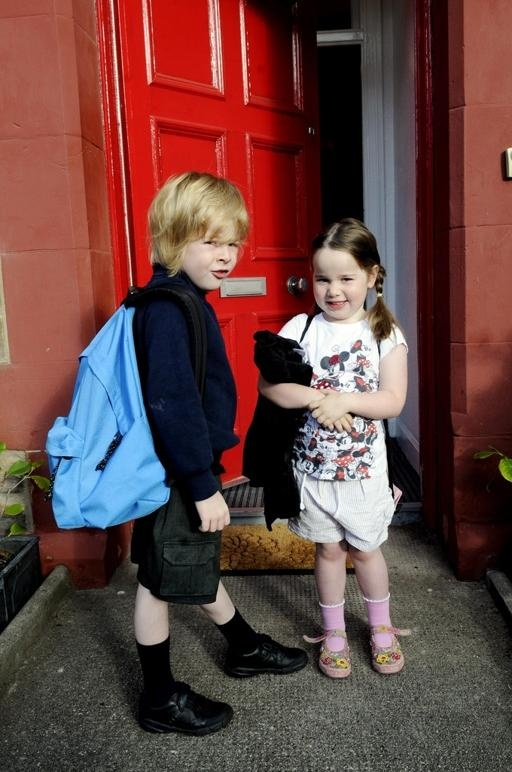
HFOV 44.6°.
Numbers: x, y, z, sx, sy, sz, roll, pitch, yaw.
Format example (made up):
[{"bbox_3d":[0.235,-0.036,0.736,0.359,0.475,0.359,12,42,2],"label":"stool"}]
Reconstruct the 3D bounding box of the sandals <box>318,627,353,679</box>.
[{"bbox_3d":[0.214,0.726,1.665,0.059,0.059,0.141,0,0,3],"label":"sandals"}]

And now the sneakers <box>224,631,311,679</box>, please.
[{"bbox_3d":[0.025,0.735,1.746,0.255,0.116,0.098,-1,33,-7],"label":"sneakers"}]

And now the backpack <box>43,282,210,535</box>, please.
[{"bbox_3d":[-0.301,0.080,1.654,0.460,0.740,0.537,4,-2,-18],"label":"backpack"}]

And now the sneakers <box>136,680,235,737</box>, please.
[{"bbox_3d":[-0.156,0.768,1.520,0.251,0.118,0.101,2,27,-1],"label":"sneakers"}]

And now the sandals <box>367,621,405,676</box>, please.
[{"bbox_3d":[0.355,0.716,1.681,0.062,0.054,0.154,-3,3,2],"label":"sandals"}]
